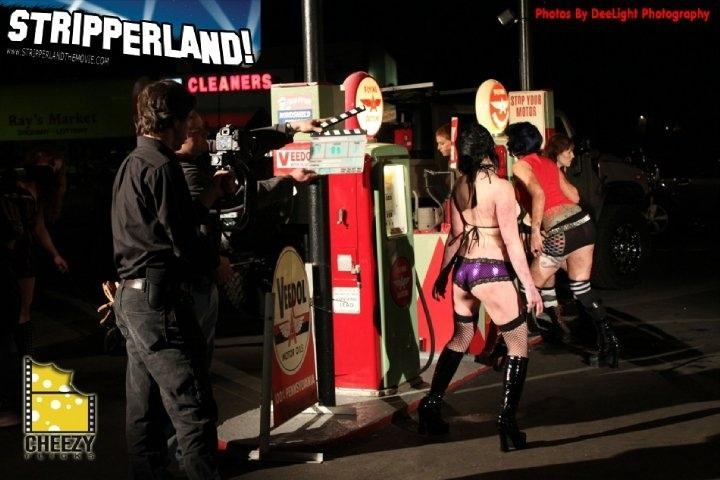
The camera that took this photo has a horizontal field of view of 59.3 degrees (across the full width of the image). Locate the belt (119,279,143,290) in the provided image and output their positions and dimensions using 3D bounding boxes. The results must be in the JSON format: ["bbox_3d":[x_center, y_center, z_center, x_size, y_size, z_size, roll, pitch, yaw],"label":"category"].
[{"bbox_3d":[-1.685,0.326,4.693,0.111,0.047,0.100,0,1,-2],"label":"belt"}]

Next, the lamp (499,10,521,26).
[{"bbox_3d":[3.255,-4.870,13.838,0.408,0.366,0.318,0,8,14],"label":"lamp"}]

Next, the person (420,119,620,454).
[{"bbox_3d":[1.187,0.404,6.050,1.074,3.010,0.693,3,8,31],"label":"person"}]

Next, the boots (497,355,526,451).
[{"bbox_3d":[1.426,1.513,5.877,0.246,0.873,0.347,1,8,20],"label":"boots"}]
